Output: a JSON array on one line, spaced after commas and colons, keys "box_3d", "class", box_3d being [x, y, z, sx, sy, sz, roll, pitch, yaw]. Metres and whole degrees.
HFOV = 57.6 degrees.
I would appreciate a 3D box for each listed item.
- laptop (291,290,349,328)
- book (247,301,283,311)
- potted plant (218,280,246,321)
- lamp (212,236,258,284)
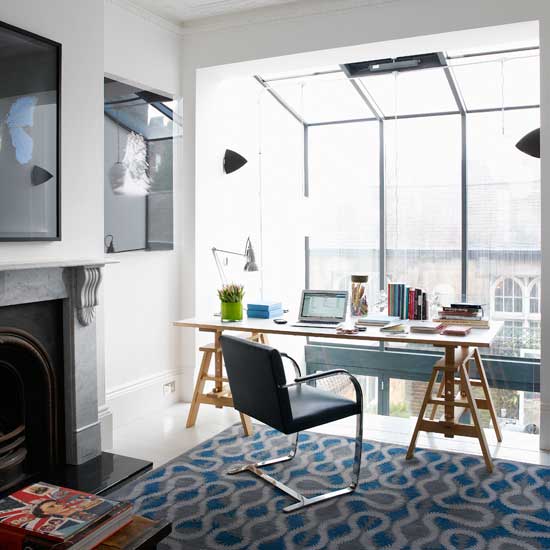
[{"box_3d": [0.340, 0.248, 3.575, 0.274, 0.260, 0.210, 1, -7, 18], "class": "laptop"}, {"box_3d": [-0.073, 0.236, 3.859, 0.289, 0.055, 0.179, 0, 2, -12], "class": "book"}, {"box_3d": [-0.319, 0.192, 3.651, 0.169, 0.266, 0.210, 0, 1, -7], "class": "potted plant"}, {"box_3d": [-0.369, -0.139, 4.519, 0.381, 0.448, 0.851, 0, 2, -4], "class": "lamp"}]
